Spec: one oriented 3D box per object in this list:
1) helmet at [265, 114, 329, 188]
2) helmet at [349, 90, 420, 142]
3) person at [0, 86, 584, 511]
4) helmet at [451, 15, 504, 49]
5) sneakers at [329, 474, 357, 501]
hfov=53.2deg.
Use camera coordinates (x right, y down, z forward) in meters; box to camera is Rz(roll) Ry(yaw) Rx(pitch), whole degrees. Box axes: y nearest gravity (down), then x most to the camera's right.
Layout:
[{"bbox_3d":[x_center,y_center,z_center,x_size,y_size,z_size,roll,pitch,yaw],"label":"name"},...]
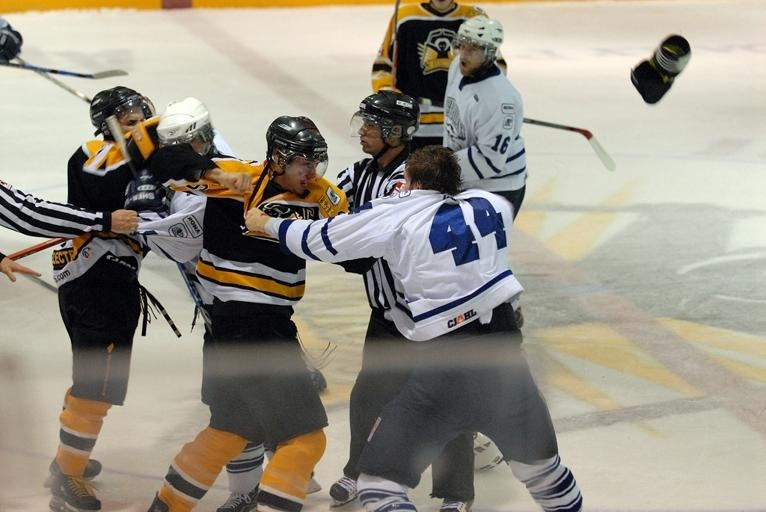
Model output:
[{"bbox_3d":[-0.349,-0.426,3.093,0.327,0.285,0.253,12,21,27],"label":"helmet"},{"bbox_3d":[0.020,-0.651,3.611,0.335,0.266,0.232,7,8,-6],"label":"helmet"},{"bbox_3d":[-0.872,0.262,3.405,1.634,1.871,0.780,18,21,20],"label":"person"},{"bbox_3d":[0.548,-1.243,4.271,0.252,0.178,0.242,11,18,3],"label":"helmet"},{"bbox_3d":[-0.183,1.097,3.602,0.109,0.070,0.171,33,-20,3],"label":"sneakers"}]
